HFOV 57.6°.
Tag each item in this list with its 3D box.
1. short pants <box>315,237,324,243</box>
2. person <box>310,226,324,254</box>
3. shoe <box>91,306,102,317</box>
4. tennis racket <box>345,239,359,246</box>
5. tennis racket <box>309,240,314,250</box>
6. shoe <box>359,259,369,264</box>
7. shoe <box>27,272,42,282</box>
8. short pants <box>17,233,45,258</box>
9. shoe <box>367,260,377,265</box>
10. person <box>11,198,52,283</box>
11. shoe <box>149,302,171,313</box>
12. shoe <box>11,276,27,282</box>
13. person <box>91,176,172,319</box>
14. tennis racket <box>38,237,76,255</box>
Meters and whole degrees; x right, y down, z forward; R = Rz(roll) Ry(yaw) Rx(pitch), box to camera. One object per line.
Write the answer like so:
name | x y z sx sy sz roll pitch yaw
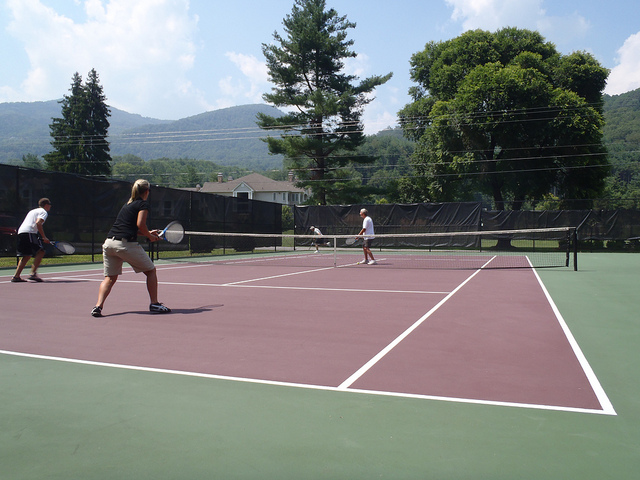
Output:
short pants | -0.065 0.046 31.838 0.294 0.217 0.702 5 8 31
person | -0.172 -0.054 30.335 0.359 0.979 1.069 5 33 -3
shoe | -3.149 1.003 8.194 0.106 0.132 0.276 2 -9 -19
tennis racket | 1.325 0.112 25.129 0.384 0.483 1.151 0 3 11
tennis racket | -0.482 0.202 32.030 0.211 0.480 0.468 -1 7 -8
shoe | 1.489 0.724 19.659 0.282 0.123 0.100 0 -3 24
shoe | -6.124 0.812 12.623 0.383 0.265 0.137 3 -1 3
short pants | -6.193 0.095 12.631 0.400 0.717 0.696 0 -1 44
shoe | 1.769 0.750 19.535 0.327 0.141 0.114 6 -8 -20
person | -6.241 0.014 12.551 0.815 1.782 1.501 -3 8 -26
shoe | -2.343 0.999 8.534 0.297 0.140 0.115 2 -3 -2
shoe | -6.516 0.838 12.604 0.312 0.128 0.375 -4 8 -30
person | -2.828 0.107 8.650 1.075 1.998 1.291 -2 8 -21
tennis racket | -6.818 0.113 15.122 1.053 0.440 0.074 17 -46 -37
